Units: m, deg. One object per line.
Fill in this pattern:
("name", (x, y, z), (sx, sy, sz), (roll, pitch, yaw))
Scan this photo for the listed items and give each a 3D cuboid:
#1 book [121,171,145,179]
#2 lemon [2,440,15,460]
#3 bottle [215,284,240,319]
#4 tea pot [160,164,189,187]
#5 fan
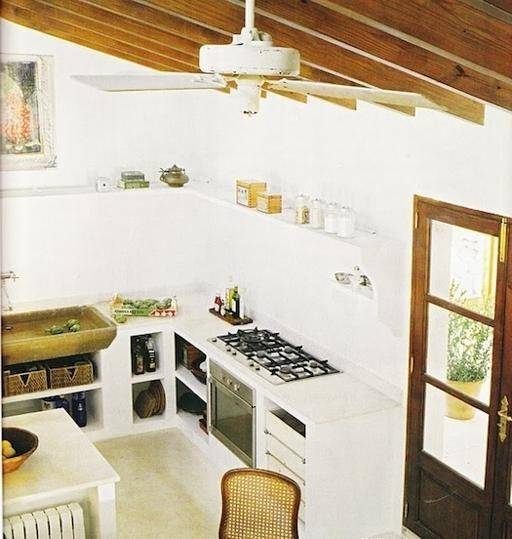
("book", (-1.167, -0.873, 5.470), (0.202, 0.091, 0.230), (7, 11, -18))
("lemon", (-1.123, 0.813, 2.629), (0.059, 0.042, 0.075), (-15, -26, -13))
("bottle", (-0.248, 0.279, 5.216), (0.234, 0.284, 0.320), (9, 11, -4))
("tea pot", (-0.787, -0.892, 5.549), (0.246, 0.179, 0.221), (-4, 9, -29))
("fan", (-0.053, -0.484, 1.476), (0.563, 0.227, 0.570), (2, 5, 28))
